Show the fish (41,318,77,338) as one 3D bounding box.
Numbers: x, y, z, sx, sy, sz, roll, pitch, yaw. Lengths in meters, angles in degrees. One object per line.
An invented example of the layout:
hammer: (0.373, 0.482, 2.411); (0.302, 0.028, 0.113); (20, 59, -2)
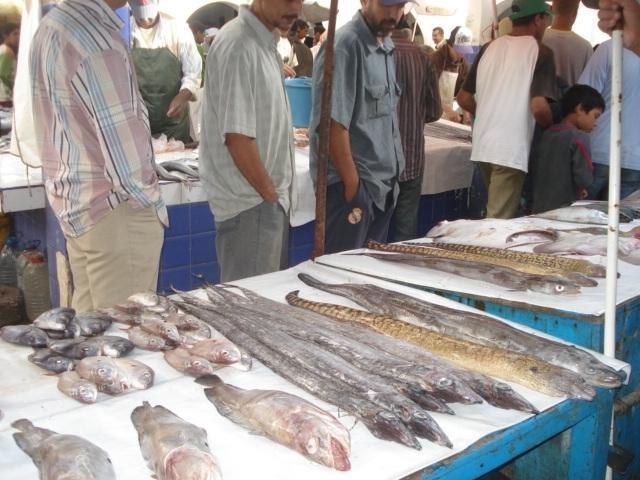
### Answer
fish: (-0.861, 0.277, 1.704); (0.078, 0.034, 0.082); (14, 30, 2)

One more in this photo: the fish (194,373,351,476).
fish: (-0.126, 0.473, 1.468); (0.492, 0.164, 0.156); (20, 2, 35)

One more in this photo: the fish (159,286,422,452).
fish: (-0.092, 0.400, 1.571); (0.087, 0.087, 0.707); (-16, 33, -36)

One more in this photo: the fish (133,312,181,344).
fish: (-0.549, 0.290, 1.748); (0.180, 0.036, 0.089); (18, 31, 26)

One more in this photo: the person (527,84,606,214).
person: (1.915, -0.700, 4.046); (0.499, 0.993, 0.419); (7, 14, 34)

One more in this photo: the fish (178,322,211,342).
fish: (-0.415, 0.311, 1.741); (0.061, 0.016, 0.067); (10, 13, 6)

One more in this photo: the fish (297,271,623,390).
fish: (0.507, 0.319, 1.785); (1.290, 0.161, 0.152); (12, 34, 26)

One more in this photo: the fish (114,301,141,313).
fish: (-0.695, 0.244, 1.878); (0.074, 0.032, 0.073); (16, 9, 38)

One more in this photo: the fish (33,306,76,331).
fish: (-0.880, 0.262, 1.711); (0.067, 0.037, 0.107); (-7, 7, -24)

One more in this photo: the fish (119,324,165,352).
fish: (-0.570, 0.303, 1.705); (0.118, 0.033, 0.069); (30, 22, 31)

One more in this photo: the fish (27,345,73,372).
fish: (-0.828, 0.343, 1.586); (0.112, 0.046, 0.068); (13, 29, 31)

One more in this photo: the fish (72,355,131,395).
fish: (-0.625, 0.392, 1.498); (0.086, 0.057, 0.149); (-15, 36, -24)

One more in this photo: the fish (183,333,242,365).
fish: (-0.346, 0.337, 1.633); (0.145, 0.038, 0.089); (19, 34, 29)

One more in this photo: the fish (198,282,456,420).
fish: (0.024, 0.362, 1.658); (0.671, 0.131, 0.118); (19, 21, 28)

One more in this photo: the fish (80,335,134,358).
fish: (-0.674, 0.334, 1.633); (0.093, 0.029, 0.079); (28, -3, -18)

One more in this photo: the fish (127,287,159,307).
fish: (-0.640, 0.209, 1.890); (0.080, 0.027, 0.061); (-13, 28, -23)

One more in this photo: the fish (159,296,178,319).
fish: (-0.546, 0.243, 1.880); (0.047, 0.025, 0.092); (1, 44, -24)

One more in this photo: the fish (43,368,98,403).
fish: (-0.716, 0.433, 1.515); (0.169, 0.061, 0.087); (10, 8, 40)

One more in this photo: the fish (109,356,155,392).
fish: (-0.552, 0.397, 1.547); (0.103, 0.048, 0.178); (-6, 10, -38)

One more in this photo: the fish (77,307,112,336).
fish: (-0.765, 0.271, 1.757); (0.066, 0.039, 0.093); (-2, 16, 4)
